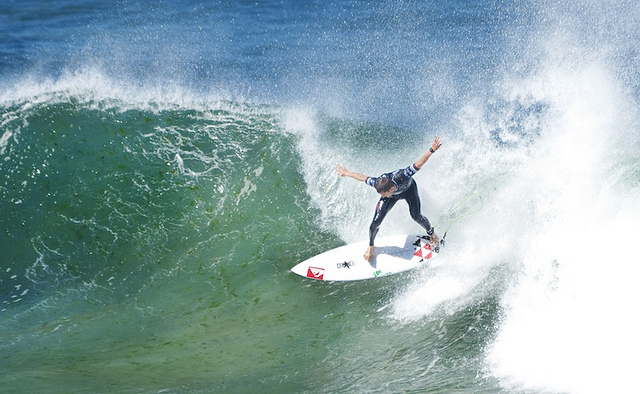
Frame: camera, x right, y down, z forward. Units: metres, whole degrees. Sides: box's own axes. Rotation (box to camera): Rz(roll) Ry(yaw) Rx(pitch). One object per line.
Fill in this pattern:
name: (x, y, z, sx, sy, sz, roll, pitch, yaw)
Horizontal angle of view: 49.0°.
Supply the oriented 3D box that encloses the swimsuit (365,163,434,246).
swimsuit: (2.432, 0.324, 22.649, 1.716, 2.489, 1.289, 1, -2, 1)
